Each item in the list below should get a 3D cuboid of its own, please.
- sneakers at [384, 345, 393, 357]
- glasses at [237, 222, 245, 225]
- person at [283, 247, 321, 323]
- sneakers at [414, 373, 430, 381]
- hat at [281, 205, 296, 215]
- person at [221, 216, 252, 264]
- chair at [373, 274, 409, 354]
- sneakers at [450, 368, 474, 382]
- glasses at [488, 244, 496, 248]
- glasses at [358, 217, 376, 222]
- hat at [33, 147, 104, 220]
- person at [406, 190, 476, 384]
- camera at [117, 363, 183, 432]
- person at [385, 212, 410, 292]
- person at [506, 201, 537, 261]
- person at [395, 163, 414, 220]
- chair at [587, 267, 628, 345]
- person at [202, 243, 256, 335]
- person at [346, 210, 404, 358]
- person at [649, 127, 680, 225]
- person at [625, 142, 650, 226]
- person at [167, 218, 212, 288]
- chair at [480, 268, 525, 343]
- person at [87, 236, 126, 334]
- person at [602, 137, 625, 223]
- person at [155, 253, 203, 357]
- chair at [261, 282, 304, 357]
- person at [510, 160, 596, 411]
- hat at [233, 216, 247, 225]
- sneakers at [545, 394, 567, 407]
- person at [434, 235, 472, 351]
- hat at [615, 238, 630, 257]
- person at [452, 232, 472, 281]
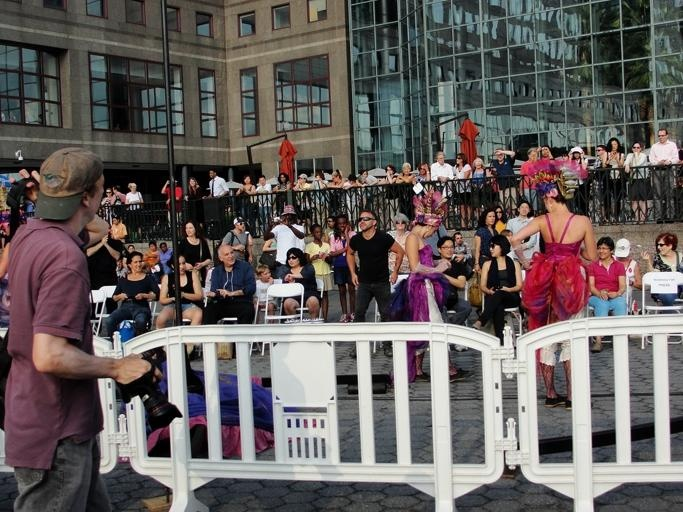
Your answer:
[{"bbox_3d":[0.799,1.575,21.656,0.206,0.105,0.326,2,8,3],"label":"sneakers"},{"bbox_3d":[-1.926,-0.655,25.580,0.048,0.059,0.273,-2,3,11],"label":"glasses"},{"bbox_3d":[-0.698,0.585,22.876,0.596,1.542,0.793,-8,2,-9],"label":"person"},{"bbox_3d":[1.257,1.820,19.595,0.162,0.131,0.299,-1,3,35],"label":"sneakers"},{"bbox_3d":[-0.985,-0.903,25.326,0.218,0.130,0.231,1,2,-14],"label":"hat"},{"bbox_3d":[-2.015,-0.030,25.736,0.576,1.434,0.417,-4,5,-20],"label":"person"},{"bbox_3d":[0.804,1.129,21.807,0.415,0.863,0.500,5,-10,16],"label":"chair"},{"bbox_3d":[1.830,1.793,19.741,0.164,0.216,0.496,4,7,45],"label":"sneakers"},{"bbox_3d":[2.489,-0.170,21.202,0.054,0.038,0.070,-2,-32,42],"label":"glasses"},{"bbox_3d":[0.443,-0.614,21.166,0.238,0.082,0.122,-3,2,-5],"label":"glasses"},{"bbox_3d":[-3.058,-0.865,14.304,0.646,0.420,1.096,3,41,17],"label":"hat"},{"bbox_3d":[1.350,0.426,19.777,0.749,2.942,0.897,-7,-15,32],"label":"person"},{"bbox_3d":[-2.031,1.659,14.255,0.539,0.339,0.627,26,10,-46],"label":"camera"},{"bbox_3d":[1.019,0.075,22.397,0.502,1.569,0.443,3,19,3],"label":"person"},{"bbox_3d":[3.394,-0.183,24.317,0.576,1.784,0.558,1,27,6],"label":"person"},{"bbox_3d":[1.534,-1.430,30.349,0.461,1.501,0.492,-2,-6,9],"label":"person"},{"bbox_3d":[4.310,0.597,21.042,0.576,1.785,0.970,-1,4,13],"label":"chair"},{"bbox_3d":[-1.887,0.708,21.935,0.842,1.750,1.003,-2,6,1],"label":"person"},{"bbox_3d":[0.587,0.434,21.293,0.898,2.405,1.201,-2,2,0],"label":"person"},{"bbox_3d":[6.841,-1.571,27.367,0.594,1.710,0.364,-2,2,14],"label":"person"},{"bbox_3d":[6.313,-1.560,27.589,0.518,1.693,0.554,-2,2,16],"label":"person"},{"bbox_3d":[-2.706,0.319,23.962,0.597,1.901,0.581,0,9,3],"label":"person"},{"bbox_3d":[2.577,0.579,20.978,0.588,1.826,1.012,-5,-6,22],"label":"chair"},{"bbox_3d":[-4.245,0.364,23.267,0.565,1.931,0.595,4,7,-4],"label":"person"},{"bbox_3d":[5.903,-1.657,28.010,0.447,1.793,0.791,-2,2,12],"label":"person"},{"bbox_3d":[-2.683,0.759,21.676,0.703,1.767,1.062,-1,-4,0],"label":"person"},{"bbox_3d":[-0.955,0.995,22.149,0.799,1.110,0.905,-8,-5,40],"label":"chair"},{"bbox_3d":[3.084,0.349,18.445,1.074,3.492,1.080,-2,2,11],"label":"person"},{"bbox_3d":[-1.981,-0.709,25.622,0.223,0.135,0.326,0,3,-2],"label":"hat"},{"bbox_3d":[3.028,2.030,18.261,0.289,0.134,0.129,-6,3,-21],"label":"sneakers"},{"bbox_3d":[1.837,0.587,21.693,0.809,1.909,0.648,-2,21,-5],"label":"person"},{"bbox_3d":[4.703,-0.142,21.607,0.227,0.201,0.374,1,22,24],"label":"hat"},{"bbox_3d":[2.281,0.004,24.379,0.386,0.997,0.515,-4,-14,-8],"label":"person"}]
